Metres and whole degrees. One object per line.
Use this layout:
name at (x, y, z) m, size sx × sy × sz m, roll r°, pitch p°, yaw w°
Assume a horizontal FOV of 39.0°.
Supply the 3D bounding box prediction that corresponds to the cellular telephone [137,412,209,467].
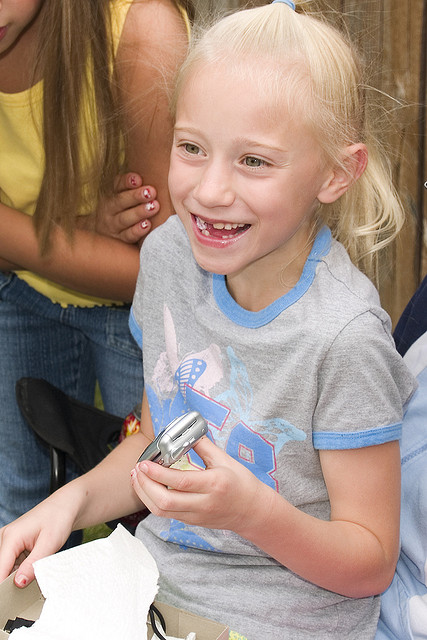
cellular telephone at (-0.038, 0.118, 0.591) m, size 0.055 × 0.093 × 0.032 m, roll -35°, pitch 86°, yaw -25°
